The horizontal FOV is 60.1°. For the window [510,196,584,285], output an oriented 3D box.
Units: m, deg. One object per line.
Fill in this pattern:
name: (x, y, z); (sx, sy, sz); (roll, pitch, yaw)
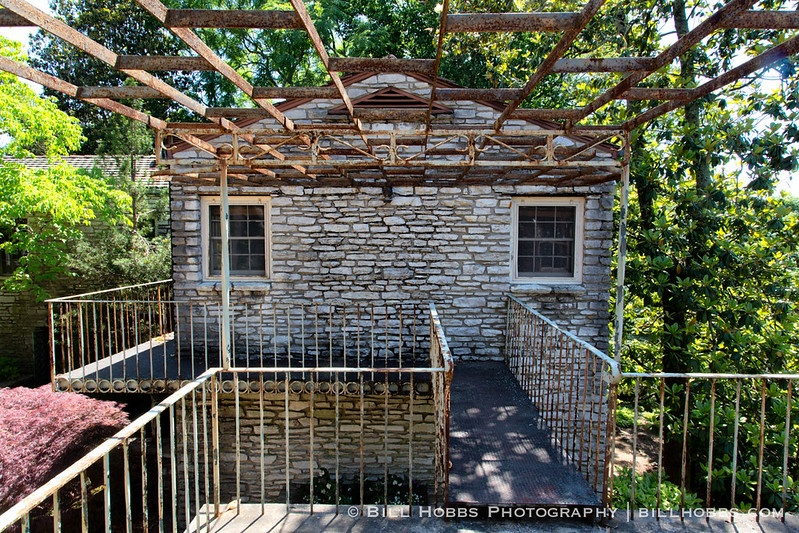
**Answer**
window: (2.874, -0.568, 13.383); (1.824, 1.982, 0.302); (0, 3, -1)

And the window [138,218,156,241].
window: (-6.602, -1.003, 18.153); (0.532, 0.490, 0.231); (-6, 2, -24)

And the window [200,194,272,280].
window: (-3.114, -0.628, 13.150); (1.768, 1.965, 0.151); (0, 4, 0)
